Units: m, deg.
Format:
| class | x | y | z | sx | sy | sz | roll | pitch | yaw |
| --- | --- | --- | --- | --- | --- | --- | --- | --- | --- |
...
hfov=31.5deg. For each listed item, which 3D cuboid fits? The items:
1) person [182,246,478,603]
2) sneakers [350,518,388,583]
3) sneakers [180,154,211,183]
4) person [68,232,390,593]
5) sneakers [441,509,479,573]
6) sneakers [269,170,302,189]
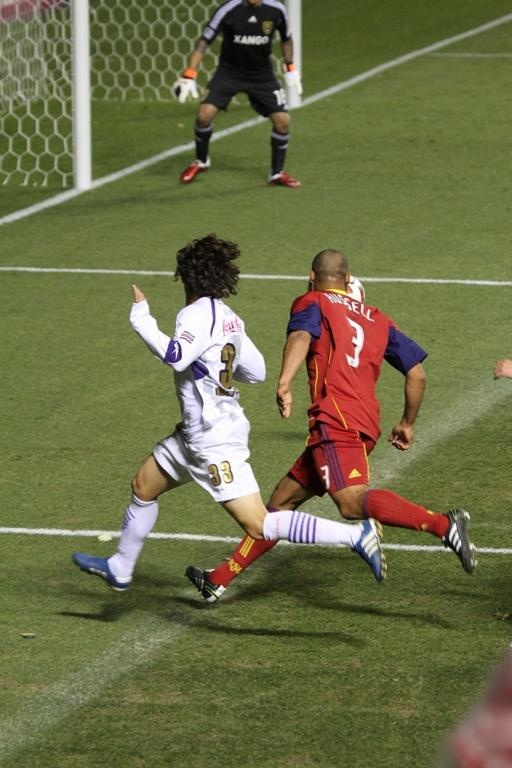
| class | x | y | z | sx | sy | sz | roll | pitch | yaw |
| --- | --- | --- | --- | --- | --- | --- | --- | --- | --- |
| person | 0.322 | 0.137 | 3.718 | 0.793 | 1.247 | 1.566 | 10 | -6 | -41 |
| sneakers | 0.398 | 0.583 | 3.188 | 0.119 | 0.243 | 0.178 | 4 | 18 | 6 |
| sneakers | -0.717 | -2.399 | 10.265 | 0.181 | 0.184 | 0.488 | 37 | 59 | 23 |
| person | -0.101 | 0.182 | 3.457 | 1.141 | 1.438 | 0.478 | 8 | 19 | 18 |
| sneakers | 0.731 | 0.594 | 3.278 | 0.121 | 0.303 | 0.231 | 6 | 18 | 11 |
| sneakers | 0.330 | -2.227 | 9.946 | 0.356 | 0.132 | 0.173 | 3 | 21 | 19 |
